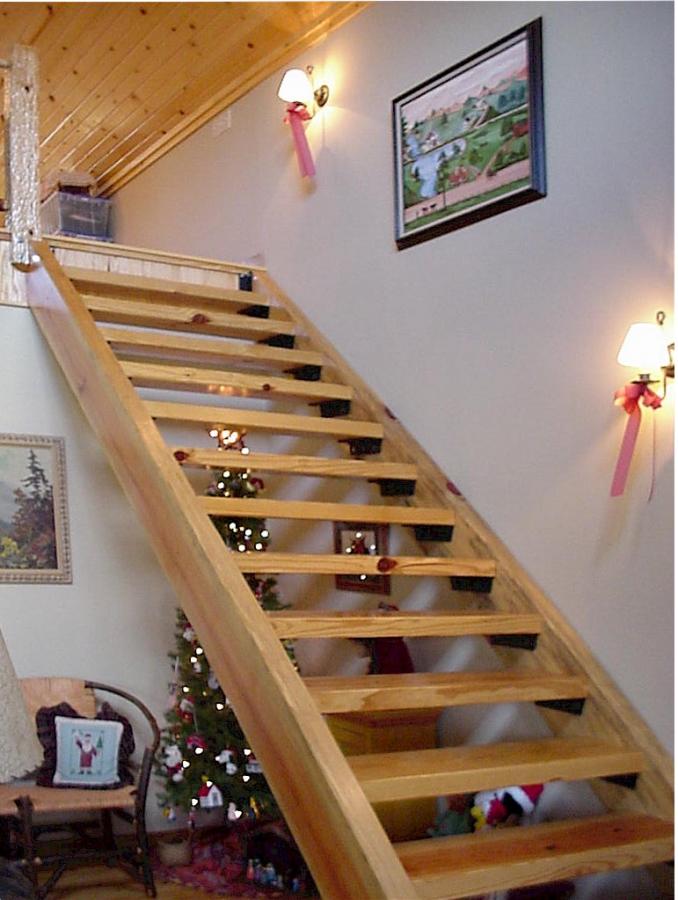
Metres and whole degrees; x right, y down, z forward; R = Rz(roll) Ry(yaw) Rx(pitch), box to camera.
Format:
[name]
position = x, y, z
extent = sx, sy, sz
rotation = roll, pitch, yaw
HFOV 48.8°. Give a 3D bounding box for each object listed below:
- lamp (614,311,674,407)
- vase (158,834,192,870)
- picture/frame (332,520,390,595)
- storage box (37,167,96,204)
[lamp]
position = 0.890, -0.276, 2.194
extent = 0.143, 0.264, 0.295
rotation = -1, 7, 21
[vase]
position = -0.651, 1.634, 3.006
extent = 0.098, 0.071, 0.097
rotation = 4, -26, -14
[picture/frame]
position = 0.092, 0.536, 3.597
extent = 0.166, 0.381, 0.472
rotation = -7, 7, -25
[storage box]
position = -2.271, -2.266, 6.408
extent = 0.447, 0.237, 0.545
rotation = -5, 7, -18
